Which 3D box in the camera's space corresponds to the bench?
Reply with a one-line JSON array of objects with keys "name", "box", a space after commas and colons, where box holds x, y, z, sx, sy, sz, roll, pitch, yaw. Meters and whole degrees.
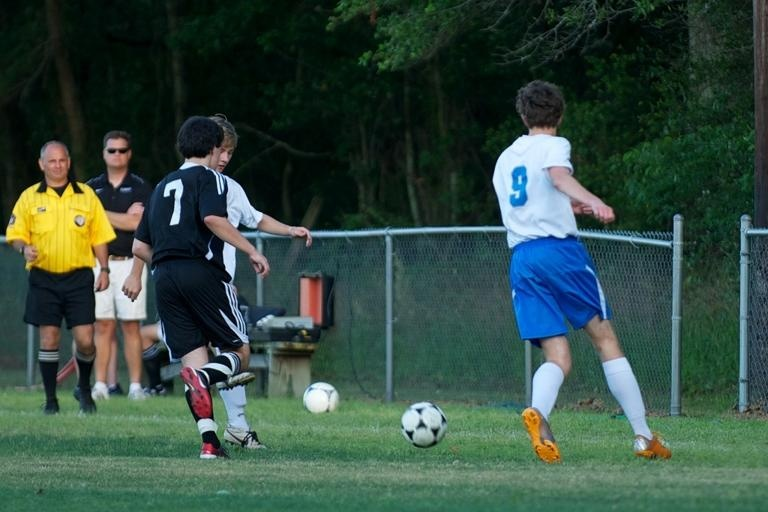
[{"name": "bench", "box": [-1.815, 1.608, 20.429, 0.640, 0.731, 2.746, -3, -5, 4]}]

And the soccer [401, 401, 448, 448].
[{"name": "soccer", "box": [0.460, 1.954, 16.673, 0.503, 0.505, 0.162, -2, -1, -8]}]

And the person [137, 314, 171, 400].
[{"name": "person", "box": [-3.245, 1.477, 20.536, 0.549, 1.450, 0.500, 2, -1, 2]}]

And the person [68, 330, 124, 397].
[{"name": "person", "box": [-4.232, 1.642, 20.481, 0.580, 1.157, 0.915, -1, -1, 0]}]

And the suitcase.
[{"name": "suitcase", "box": [-1.322, 0.680, 20.356, 0.702, 1.030, 0.938, 0, -2, 18]}]

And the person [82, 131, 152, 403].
[{"name": "person", "box": [-3.537, 0.071, 19.892, 1.346, 3.782, 1.174, 0, -1, -11]}]

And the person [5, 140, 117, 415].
[{"name": "person", "box": [-4.223, 0.279, 19.025, 1.244, 3.424, 1.365, 0, -1, -21]}]

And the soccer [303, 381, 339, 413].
[{"name": "soccer", "box": [-0.811, 1.850, 18.963, 0.418, 0.363, 0.403, -5, -2, 16]}]

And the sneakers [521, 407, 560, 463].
[{"name": "sneakers", "box": [1.742, 2.026, 16.123, 0.216, 0.568, 0.288, -26, 8, 42]}]
